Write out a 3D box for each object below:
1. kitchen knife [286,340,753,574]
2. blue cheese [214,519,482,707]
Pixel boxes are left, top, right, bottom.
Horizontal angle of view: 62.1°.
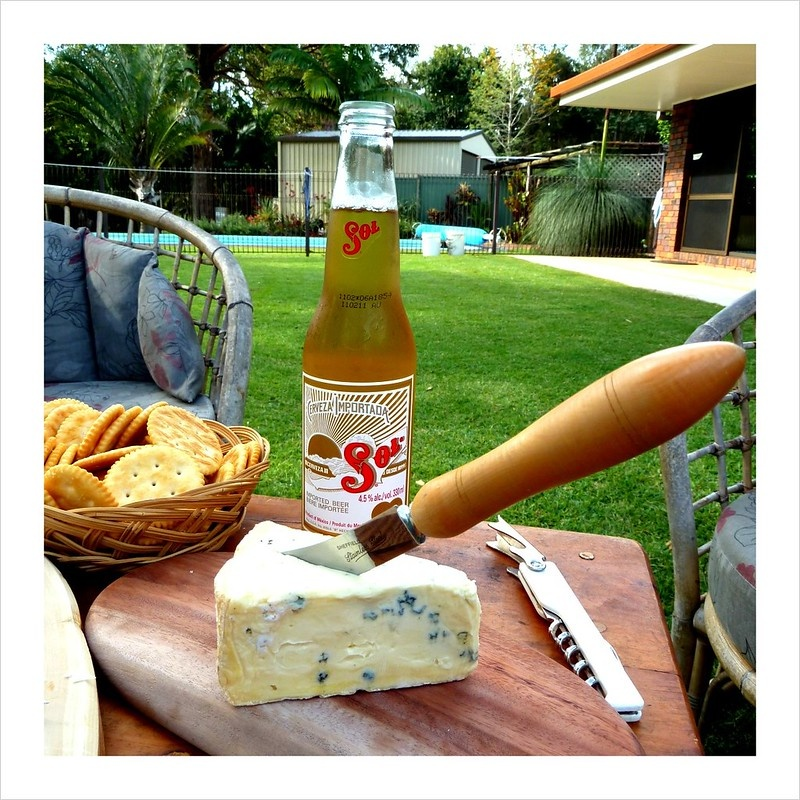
[{"bbox_3d":[0.100,0.100,0.785,0.607,0.095,0.100,-31,-15,25],"label":"kitchen knife"},{"bbox_3d":[-0.087,0.332,1.031,0.422,0.174,0.218,1,12,-3],"label":"blue cheese"}]
